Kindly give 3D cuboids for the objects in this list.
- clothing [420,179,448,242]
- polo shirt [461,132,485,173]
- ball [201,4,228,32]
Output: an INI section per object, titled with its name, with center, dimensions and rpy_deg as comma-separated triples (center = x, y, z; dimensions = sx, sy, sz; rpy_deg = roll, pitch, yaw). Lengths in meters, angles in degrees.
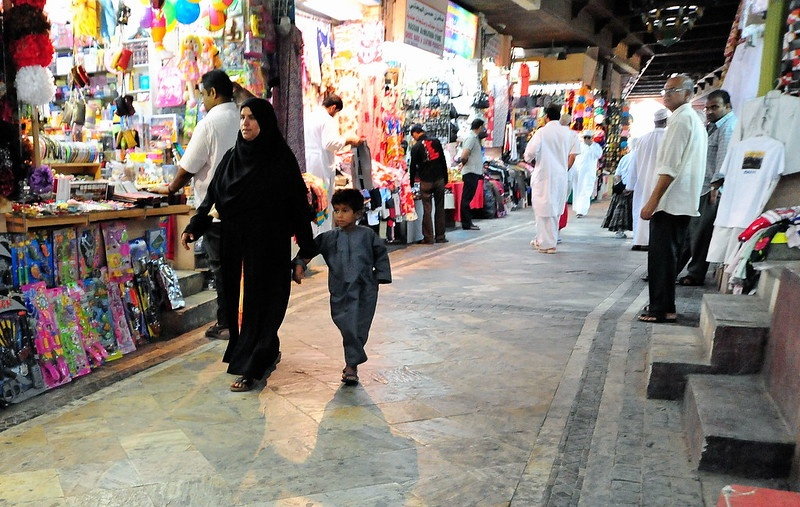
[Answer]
[clothing]
center = 0.597, -0.802, 8.677
dimensions = 0.422, 1.177, 0.325
rpy_deg = 0, -8, -15
[polo shirt]
center = 1.419, -1.987, 9.839
dimensions = 0.413, 0.801, 0.725
rpy_deg = 0, 26, 14
[ball]
center = -2.024, -2.570, 5.470
dimensions = 0.279, 0.286, 0.274
rpy_deg = 3, 28, -2
